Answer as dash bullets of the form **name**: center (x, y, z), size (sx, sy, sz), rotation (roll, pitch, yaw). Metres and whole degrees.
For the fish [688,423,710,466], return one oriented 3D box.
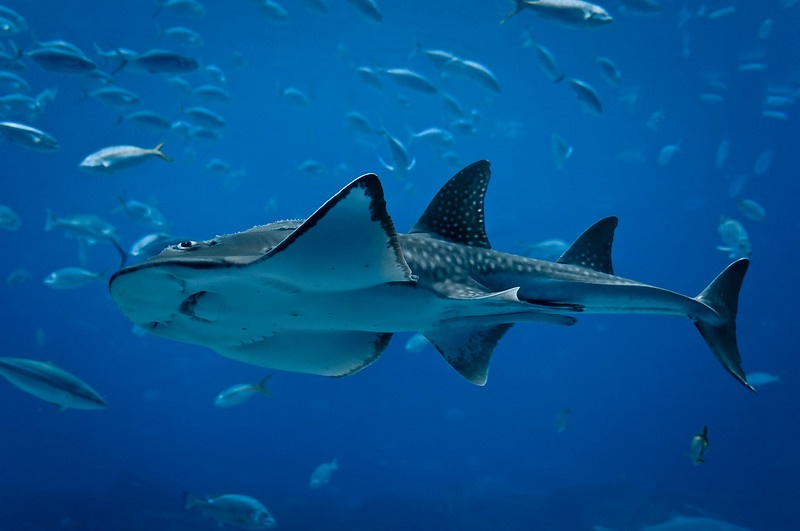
- **fish**: center (7.920, 4.717, 24.278), size (0.430, 1.001, 0.615), rotation (-2, -2, 15)
